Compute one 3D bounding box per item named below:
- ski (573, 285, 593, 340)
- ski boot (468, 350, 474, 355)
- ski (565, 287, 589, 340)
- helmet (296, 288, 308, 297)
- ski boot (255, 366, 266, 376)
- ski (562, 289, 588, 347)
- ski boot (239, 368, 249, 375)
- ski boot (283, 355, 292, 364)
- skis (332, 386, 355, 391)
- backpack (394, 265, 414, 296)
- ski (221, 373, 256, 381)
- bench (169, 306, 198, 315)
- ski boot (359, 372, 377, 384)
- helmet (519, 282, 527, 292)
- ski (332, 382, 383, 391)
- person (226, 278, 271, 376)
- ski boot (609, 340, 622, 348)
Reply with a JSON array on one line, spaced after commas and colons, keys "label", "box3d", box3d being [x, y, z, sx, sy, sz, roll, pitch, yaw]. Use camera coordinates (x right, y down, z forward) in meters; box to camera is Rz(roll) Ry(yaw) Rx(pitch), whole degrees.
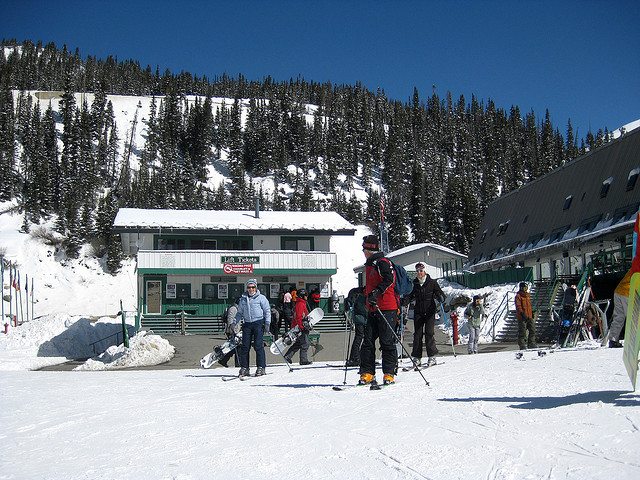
[{"label": "ski", "box3d": [7.932, 2.243, 20.811, 0.169, 1.936, 0.185, -18, 1, 24]}, {"label": "ski boot", "box3d": [4.526, 3.339, 20.581, 0.135, 0.094, 0.240, 2, -3, 13]}, {"label": "ski", "box3d": [7.682, 2.230, 20.633, 0.194, 1.715, 0.223, -21, -2, 42]}, {"label": "helmet", "box3d": [-0.542, 1.468, 19.404, 0.231, 0.197, 0.293, 8, -7, -33]}, {"label": "ski boot", "box3d": [-1.359, 3.006, 15.837, 0.099, 0.141, 0.300, -6, -12, 22]}, {"label": "ski", "box3d": [7.590, 2.358, 20.557, 0.222, 1.815, 0.245, 35, -18, -29]}, {"label": "ski boot", "box3d": [-1.705, 2.938, 15.497, 0.187, 0.130, 0.195, 2, -3, 1]}, {"label": "ski boot", "box3d": [-0.858, 3.231, 18.675, 0.201, 0.079, 0.152, 42, 9, 23]}, {"label": "skis", "box3d": [0.457, 2.839, 13.215, 0.404, 0.047, 0.214, 5, -4, -35]}, {"label": "backpack", "box3d": [1.646, 0.788, 13.424, 0.373, 0.566, 0.204, -2, -6, 45]}, {"label": "ski", "box3d": [-1.847, 3.141, 15.800, 0.616, 0.099, 0.112, -17, 5, 8]}, {"label": "bench", "box3d": [-8.045, 4.129, 40.830, 1.652, 0.440, 0.480, 3, -3, -15]}, {"label": "ski boot", "box3d": [0.927, 2.655, 13.251, 0.233, 0.254, 0.202, -7, -5, -6]}, {"label": "helmet", "box3d": [5.683, 1.305, 19.228, 0.170, 0.226, 0.398, 1, -3, 18]}, {"label": "ski", "box3d": [0.743, 2.817, 13.299, 0.679, 0.118, 0.083, -10, -13, 11]}, {"label": "person", "box3d": [-1.546, 2.013, 15.732, 0.800, 2.187, 0.574, 2, -3, -7]}, {"label": "ski boot", "box3d": [6.842, 2.418, 15.982, 0.301, 0.110, 0.182, 17, -16, -40]}]
